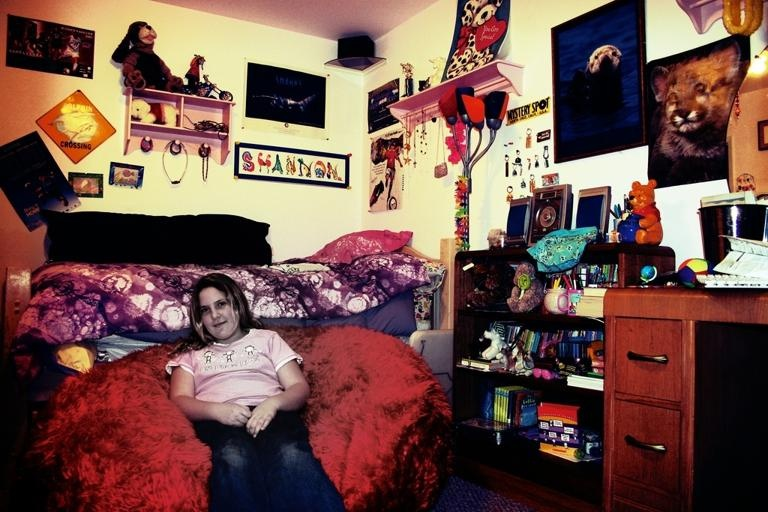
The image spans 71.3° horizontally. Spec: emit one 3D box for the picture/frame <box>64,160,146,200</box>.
[{"bbox_3d":[-2.027,-0.547,3.850,0.833,0.292,0.034,1,1,-41],"label":"picture/frame"}]

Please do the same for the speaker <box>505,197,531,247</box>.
[{"bbox_3d":[0.829,-0.200,3.206,0.166,0.273,0.167,2,-7,40],"label":"speaker"}]

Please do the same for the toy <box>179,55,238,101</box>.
[{"bbox_3d":[-1.385,-1.320,4.196,0.415,0.355,0.282,2,5,-24],"label":"toy"}]

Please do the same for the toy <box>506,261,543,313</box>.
[{"bbox_3d":[0.783,0.170,2.973,0.191,0.275,0.199,1,1,16],"label":"toy"}]

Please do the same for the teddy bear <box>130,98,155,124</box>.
[{"bbox_3d":[-1.718,-1.032,3.830,0.161,0.162,0.044,0,1,-26],"label":"teddy bear"}]

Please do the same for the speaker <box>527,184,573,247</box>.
[{"bbox_3d":[0.956,-0.214,3.036,0.171,0.341,0.217,18,-16,-41],"label":"speaker"}]

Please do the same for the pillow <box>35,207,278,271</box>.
[{"bbox_3d":[-1.524,-0.110,3.784,1.491,0.401,0.248,1,-12,-18],"label":"pillow"}]

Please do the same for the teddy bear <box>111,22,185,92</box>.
[{"bbox_3d":[-1.685,-1.385,3.847,0.503,0.517,0.280,1,3,-39],"label":"teddy bear"}]

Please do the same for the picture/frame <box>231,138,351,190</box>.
[{"bbox_3d":[-0.766,-0.752,4.428,0.915,0.300,0.068,0,1,-21],"label":"picture/frame"}]

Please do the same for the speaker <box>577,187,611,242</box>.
[{"bbox_3d":[1.106,-0.235,2.849,0.172,0.286,0.219,1,1,22],"label":"speaker"}]

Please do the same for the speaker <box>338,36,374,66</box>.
[{"bbox_3d":[-0.234,-1.743,4.475,0.305,0.251,0.210,1,1,-3],"label":"speaker"}]

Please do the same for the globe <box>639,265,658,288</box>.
[{"bbox_3d":[1.222,0.090,2.496,0.077,0.078,0.098,10,40,22],"label":"globe"}]

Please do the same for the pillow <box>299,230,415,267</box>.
[{"bbox_3d":[-0.147,-0.076,3.931,0.878,0.237,0.702,-1,4,-31],"label":"pillow"}]

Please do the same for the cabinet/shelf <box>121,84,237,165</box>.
[{"bbox_3d":[-1.520,-0.966,3.987,0.724,0.490,0.213,0,1,-29],"label":"cabinet/shelf"}]
